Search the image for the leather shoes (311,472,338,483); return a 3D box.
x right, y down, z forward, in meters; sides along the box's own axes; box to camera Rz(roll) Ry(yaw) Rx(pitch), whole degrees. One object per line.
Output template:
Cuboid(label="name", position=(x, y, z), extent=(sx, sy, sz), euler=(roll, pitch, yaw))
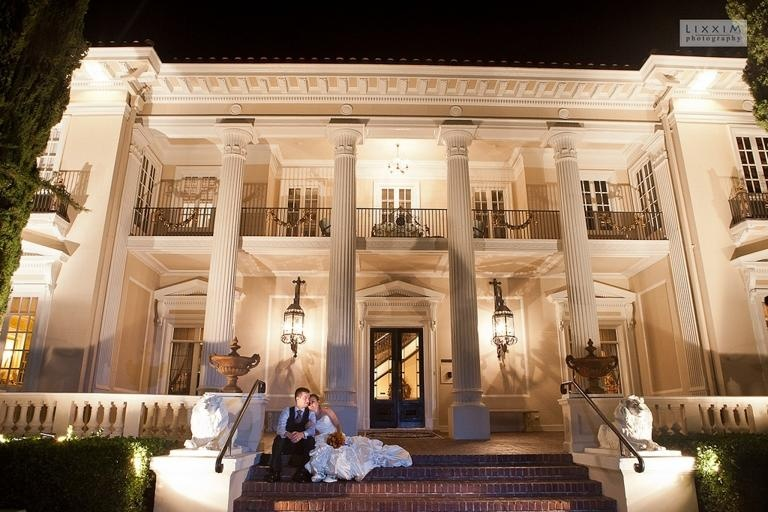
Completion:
Cuboid(label="leather shoes", position=(-1.073, 3.968, 8.689), extent=(0.464, 0.185, 0.160), euler=(10, -25, -3))

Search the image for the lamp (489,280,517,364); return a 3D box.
Cuboid(label="lamp", position=(3.689, 1.981, 14.761), extent=(0.690, 2.426, 0.830), euler=(3, -2, -36))

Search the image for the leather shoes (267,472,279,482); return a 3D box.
Cuboid(label="leather shoes", position=(-2.027, 4.060, 8.859), extent=(0.190, 0.169, 0.105), euler=(-1, -26, 3))

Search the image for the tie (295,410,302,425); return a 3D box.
Cuboid(label="tie", position=(-1.622, 3.078, 9.234), extent=(0.117, 0.259, 0.259), euler=(0, -8, -2))

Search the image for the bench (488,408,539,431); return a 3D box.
Cuboid(label="bench", position=(3.962, 4.968, 14.612), extent=(1.524, 0.617, 0.389), euler=(-2, -15, 3))
